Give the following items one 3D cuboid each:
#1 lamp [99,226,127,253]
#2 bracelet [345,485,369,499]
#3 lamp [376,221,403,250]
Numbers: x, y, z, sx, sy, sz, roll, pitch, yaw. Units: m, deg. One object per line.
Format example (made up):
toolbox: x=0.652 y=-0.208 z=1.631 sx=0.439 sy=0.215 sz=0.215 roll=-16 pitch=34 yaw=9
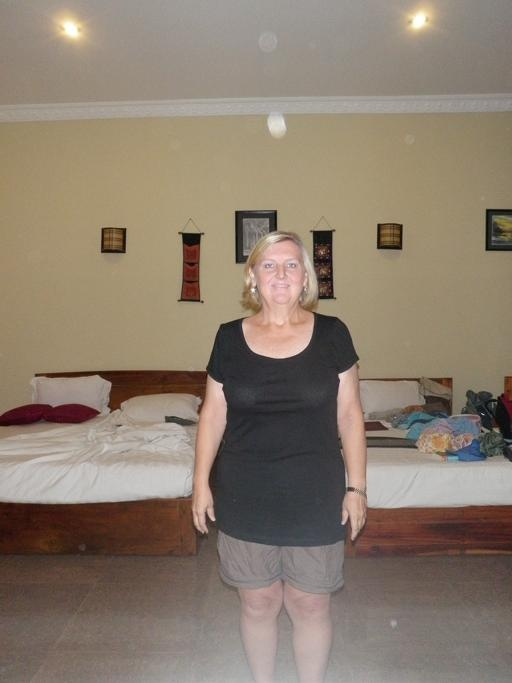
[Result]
lamp: x=-1.121 y=-0.809 z=4.759 sx=0.222 sy=0.209 sz=0.104 roll=1 pitch=4 yaw=-2
bracelet: x=0.294 y=0.422 z=1.722 sx=0.043 sy=0.012 sz=0.044 roll=-1 pitch=-17 yaw=45
lamp: x=1.039 y=-0.810 z=4.671 sx=0.193 sy=0.206 sz=0.103 roll=0 pitch=8 yaw=6
